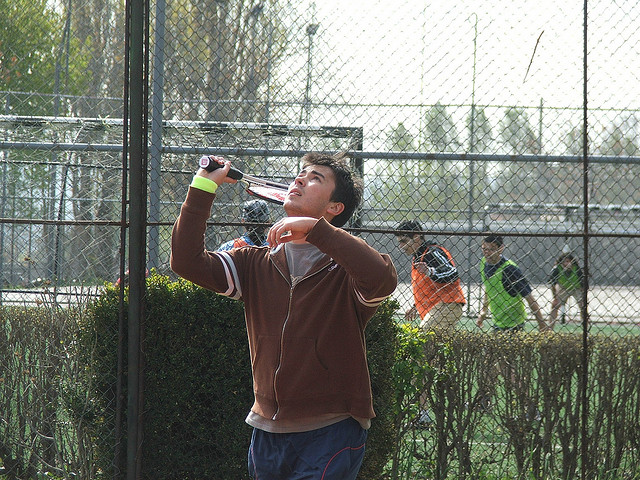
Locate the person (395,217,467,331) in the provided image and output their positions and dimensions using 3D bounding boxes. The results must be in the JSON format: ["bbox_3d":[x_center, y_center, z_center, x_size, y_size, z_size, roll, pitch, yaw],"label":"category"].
[{"bbox_3d":[1.318,0.403,12.588,0.792,1.305,2.189,0,-2,8],"label":"person"}]

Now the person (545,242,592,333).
[{"bbox_3d":[3.009,0.616,13.027,0.394,0.953,0.423,9,-20,-1],"label":"person"}]

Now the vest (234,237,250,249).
[{"bbox_3d":[-0.857,0.029,11.541,0.115,0.114,0.124,4,1,35],"label":"vest"}]

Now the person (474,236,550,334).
[{"bbox_3d":[2.530,0.608,14.152,0.478,1.903,0.859,16,-23,-34],"label":"person"}]

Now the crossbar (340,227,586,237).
[{"bbox_3d":[1.691,-0.104,12.705,3.130,0.064,0.145,2,9,-7],"label":"crossbar"}]
